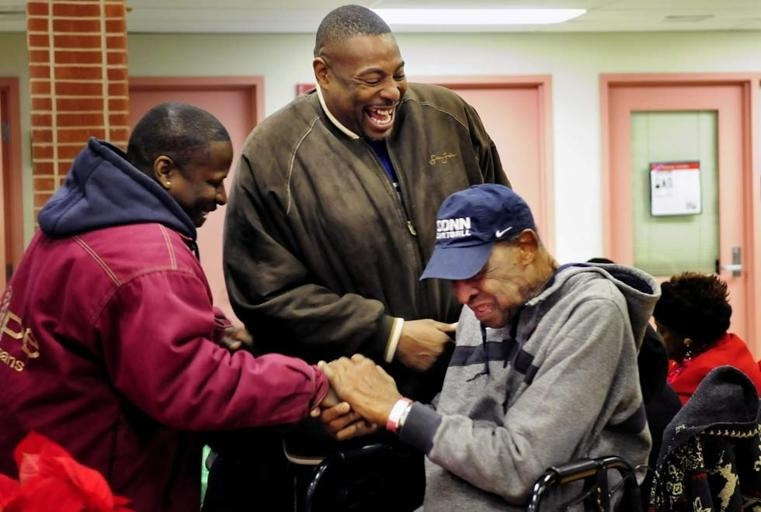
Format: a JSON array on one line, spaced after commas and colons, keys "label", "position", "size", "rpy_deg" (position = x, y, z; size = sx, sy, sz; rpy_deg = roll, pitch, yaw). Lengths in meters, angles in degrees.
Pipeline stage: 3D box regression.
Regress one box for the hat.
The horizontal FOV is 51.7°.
[{"label": "hat", "position": [0.377, -0.140, 3.228], "size": [0.553, 0.285, 0.363], "rpy_deg": [-24, 23, -27]}]
